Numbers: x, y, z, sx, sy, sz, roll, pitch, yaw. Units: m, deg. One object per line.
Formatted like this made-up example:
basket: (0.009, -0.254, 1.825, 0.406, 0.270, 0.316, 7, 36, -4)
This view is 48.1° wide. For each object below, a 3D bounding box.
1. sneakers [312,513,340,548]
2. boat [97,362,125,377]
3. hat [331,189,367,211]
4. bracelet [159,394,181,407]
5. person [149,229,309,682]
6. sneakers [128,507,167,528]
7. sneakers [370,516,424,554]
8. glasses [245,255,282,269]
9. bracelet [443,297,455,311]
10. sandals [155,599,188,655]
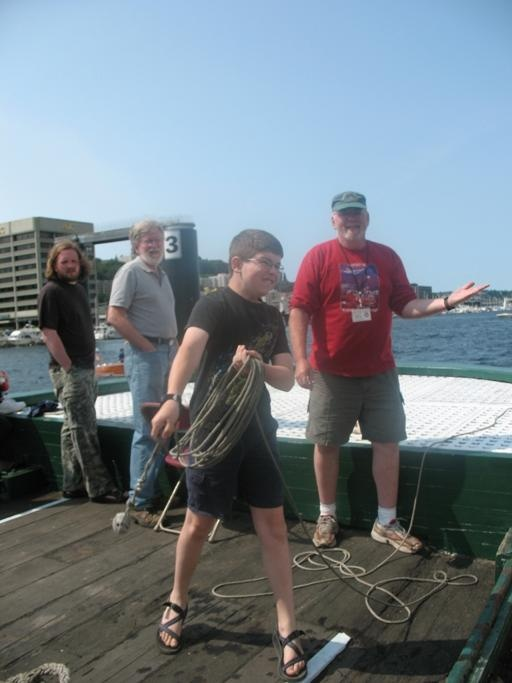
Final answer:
sneakers: (0.378, 1.018, 3.086, 0.120, 0.112, 0.286, -2, -12, 10)
boat: (-2.721, 0.528, 10.759, 0.694, 0.256, 0.579, -2, 2, 42)
hat: (0.468, -0.725, 2.925, 0.159, 0.100, 0.271, -2, 4, 9)
bracelet: (-0.305, 0.200, 2.058, 0.068, 0.041, 0.112, -3, 4, -8)
person: (-0.133, 0.370, 2.133, 0.554, 1.556, 0.525, -3, 5, 4)
sneakers: (-0.659, 1.051, 3.439, 0.195, 0.070, 0.093, 2, 4, 15)
sneakers: (0.722, 1.005, 3.014, 0.287, 0.118, 0.101, 8, 8, 32)
glasses: (0.035, -0.288, 2.101, 0.137, 0.050, 0.056, -5, 5, -32)
bracelet: (0.963, -0.192, 2.881, 0.057, 0.057, 0.039, 37, -33, -16)
sandals: (-0.309, 1.064, 2.128, 0.080, 0.083, 0.229, 7, -6, -4)
